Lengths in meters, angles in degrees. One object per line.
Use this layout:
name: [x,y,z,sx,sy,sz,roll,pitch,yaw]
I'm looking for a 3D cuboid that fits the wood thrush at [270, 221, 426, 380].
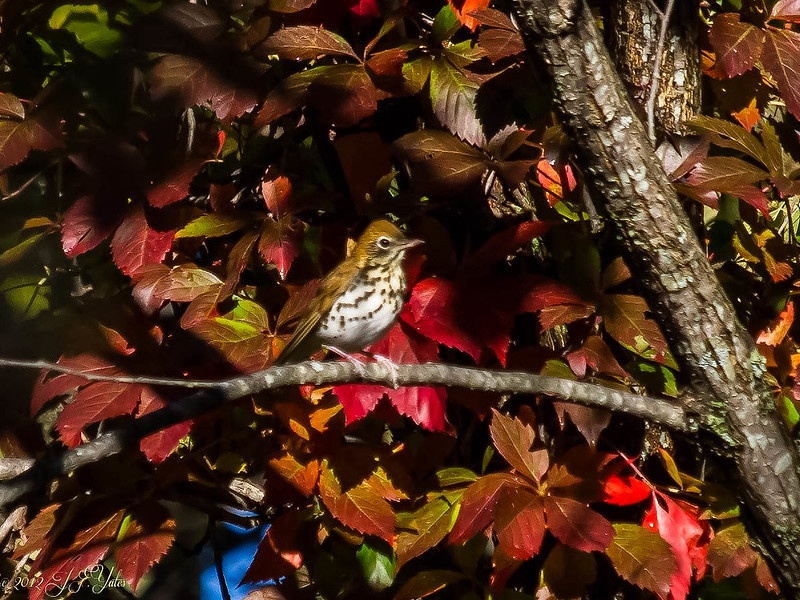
wood thrush: [-0.198,-0.004,3.334,0.570,0.540,0.287,6,7,29]
